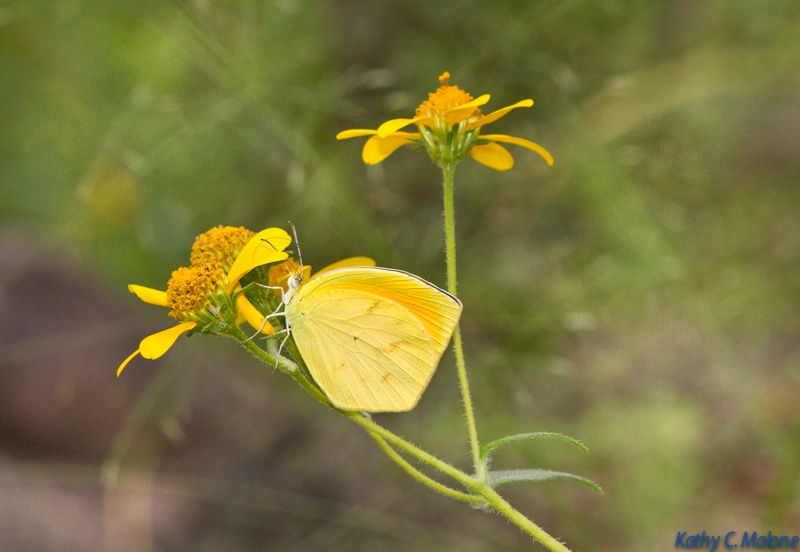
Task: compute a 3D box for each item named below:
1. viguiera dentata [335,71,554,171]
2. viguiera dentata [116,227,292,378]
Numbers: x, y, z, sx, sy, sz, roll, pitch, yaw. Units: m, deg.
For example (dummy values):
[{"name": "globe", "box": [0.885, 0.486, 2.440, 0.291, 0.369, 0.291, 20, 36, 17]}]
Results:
[{"name": "viguiera dentata", "box": [0.175, -0.669, 3.706, 0.942, 0.425, 0.912, -7, 13, -38]}, {"name": "viguiera dentata", "box": [-0.750, 0.006, 3.518, 0.619, 0.293, 0.639, -34, 33, 18]}]
